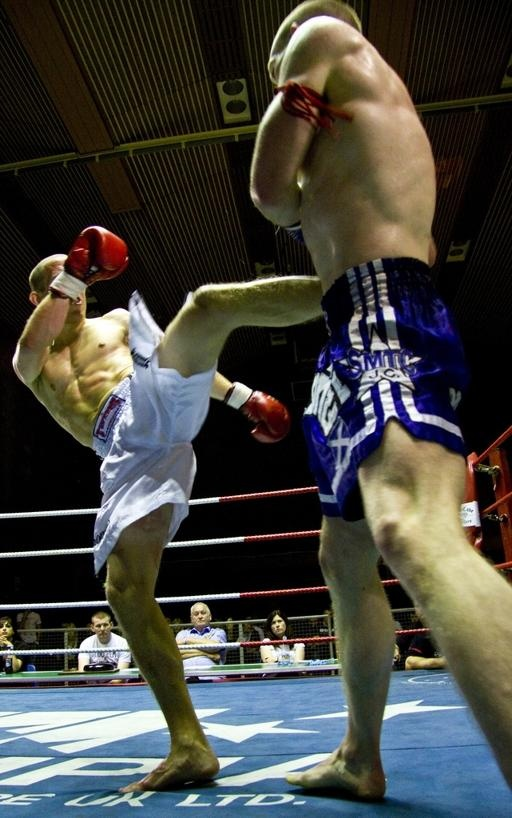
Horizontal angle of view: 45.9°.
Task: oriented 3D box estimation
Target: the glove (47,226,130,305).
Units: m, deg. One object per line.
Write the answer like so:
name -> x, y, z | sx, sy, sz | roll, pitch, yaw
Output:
glove -> -0.490, -0.408, 1.801 | 0.152, 0.260, 0.172 | 21, -16, 13

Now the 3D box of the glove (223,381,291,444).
glove -> 0.004, 0.008, 1.907 | 0.219, 0.150, 0.098 | 33, 16, 36
